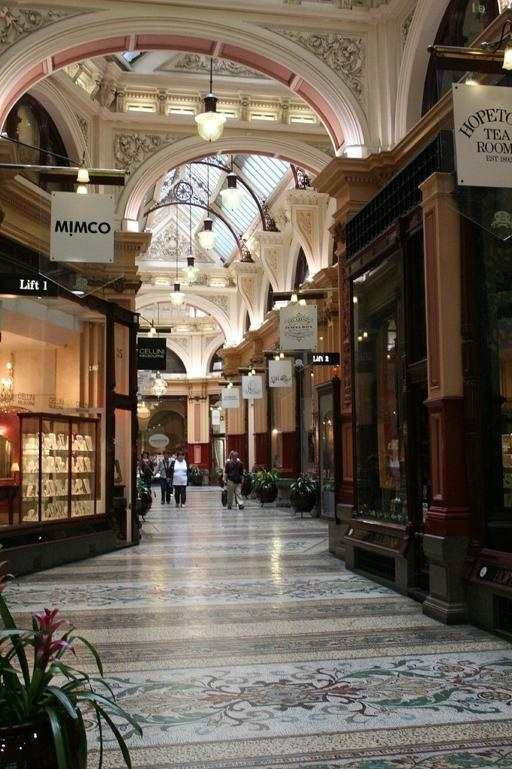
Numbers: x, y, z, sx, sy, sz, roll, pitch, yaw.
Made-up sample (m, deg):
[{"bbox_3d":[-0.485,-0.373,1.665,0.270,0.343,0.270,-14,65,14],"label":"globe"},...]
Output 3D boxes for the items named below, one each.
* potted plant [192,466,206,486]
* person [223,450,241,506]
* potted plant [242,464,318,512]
[{"bbox_3d":[-3.045,4.873,33.699,0.874,0.681,0.897,0,-9,-5],"label":"potted plant"},{"bbox_3d":[-0.628,2.662,17.675,0.438,1.544,1.501,-2,-7,-3],"label":"person"},{"bbox_3d":[0.881,2.898,17.469,2.609,1.218,0.997,4,0,31],"label":"potted plant"}]
